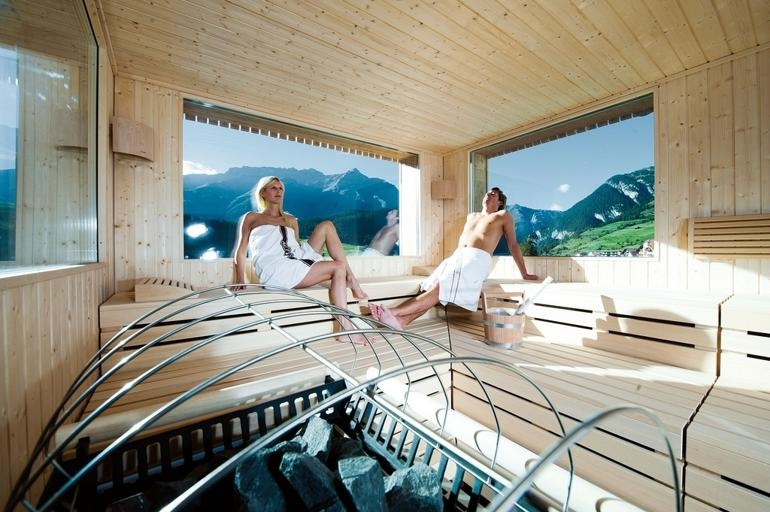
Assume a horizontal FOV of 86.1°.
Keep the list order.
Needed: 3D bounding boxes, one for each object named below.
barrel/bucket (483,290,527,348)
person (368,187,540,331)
[{"bbox_3d":[1.059,0.565,3.680,0.449,0.483,0.485,2,-1,0],"label":"barrel/bucket"},{"bbox_3d":[0.518,-0.027,4.408,2.011,1.156,1.112,-14,11,-31],"label":"person"}]
